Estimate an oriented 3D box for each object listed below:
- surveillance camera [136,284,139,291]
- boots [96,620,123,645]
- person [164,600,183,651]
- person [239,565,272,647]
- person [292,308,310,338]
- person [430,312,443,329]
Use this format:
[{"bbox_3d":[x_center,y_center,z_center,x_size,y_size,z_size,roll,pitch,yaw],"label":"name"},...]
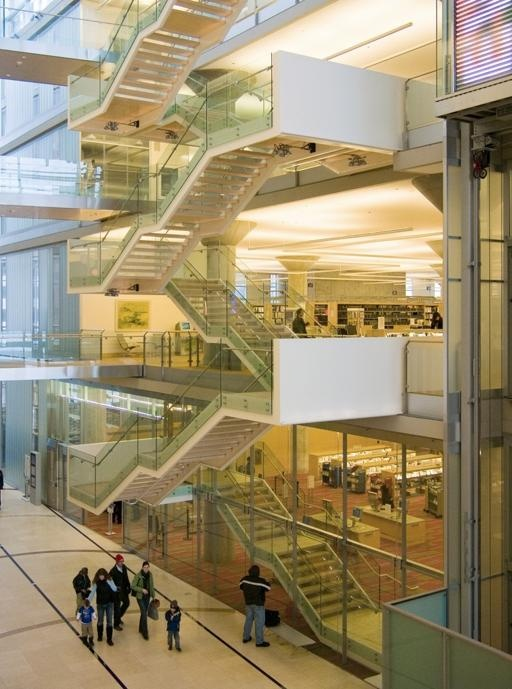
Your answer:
[{"bbox_3d":[-2.499,-1.184,14.167,0.084,0.130,0.040,3,-3,-26],"label":"surveillance camera"},{"bbox_3d":[-2.399,4.769,11.190,0.344,0.463,0.403,1,-3,-41],"label":"boots"},{"bbox_3d":[-1.328,4.462,10.901,0.237,0.869,0.970,2,-2,-6],"label":"person"},{"bbox_3d":[-0.010,4.298,11.099,0.524,1.342,0.428,0,-3,30],"label":"person"},{"bbox_3d":[0.723,-0.368,11.143,0.259,0.534,0.863,1,-2,3],"label":"person"},{"bbox_3d":[4.690,-0.627,17.527,0.214,0.509,0.933,1,-3,12],"label":"person"}]
